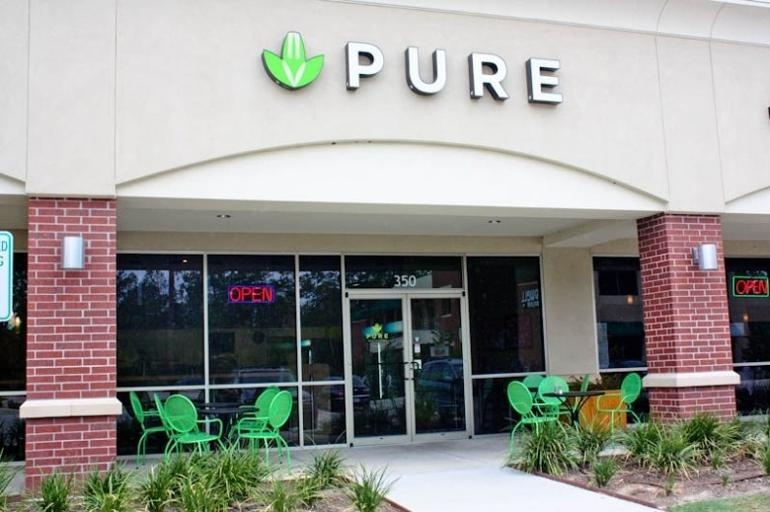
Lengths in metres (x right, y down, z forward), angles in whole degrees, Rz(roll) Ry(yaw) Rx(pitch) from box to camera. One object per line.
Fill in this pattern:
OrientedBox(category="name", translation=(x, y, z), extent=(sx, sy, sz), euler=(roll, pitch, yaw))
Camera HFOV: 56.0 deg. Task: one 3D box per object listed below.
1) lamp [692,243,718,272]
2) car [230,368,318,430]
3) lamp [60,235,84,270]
OrientedBox(category="lamp", translation=(5.834, 0.046, 13.240), extent=(0.411, 0.429, 0.245), euler=(5, -13, -23))
OrientedBox(category="car", translation=(-2.192, 2.748, 13.842), extent=(1.131, 1.126, 1.975), euler=(0, -2, -1))
OrientedBox(category="lamp", translation=(-4.680, -0.069, 10.936), extent=(0.333, 0.520, 0.177), euler=(4, -12, -37))
